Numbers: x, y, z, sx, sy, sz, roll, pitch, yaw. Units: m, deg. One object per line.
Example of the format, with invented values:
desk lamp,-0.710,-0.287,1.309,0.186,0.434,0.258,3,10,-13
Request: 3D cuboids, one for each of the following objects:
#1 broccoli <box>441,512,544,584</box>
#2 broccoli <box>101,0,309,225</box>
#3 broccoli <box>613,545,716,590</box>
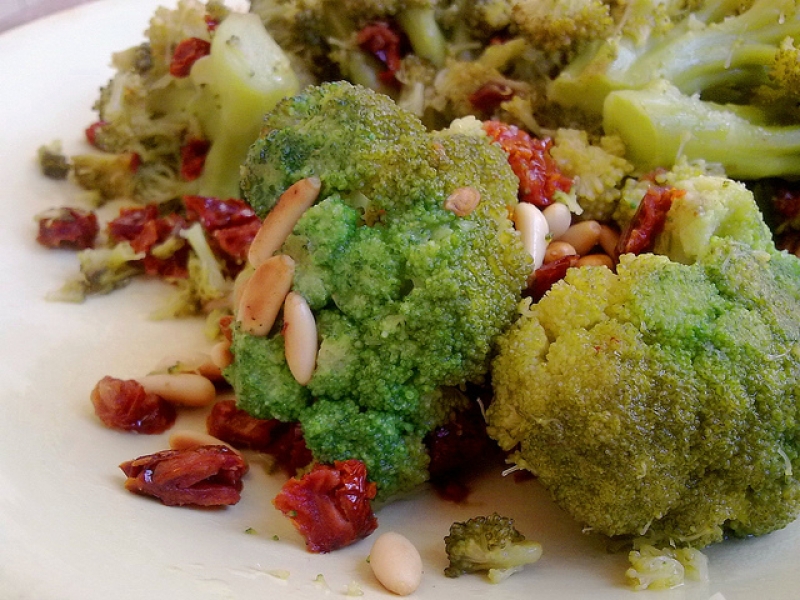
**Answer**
broccoli,0.159,0.464,1.523,0.177,0.202,0.120,-9,81,19
broccoli,-0.409,-0.407,1.935,0.424,0.230,0.451,-25,82,21
broccoli,0.471,0.468,1.421,0.099,0.036,0.074,-3,55,8
